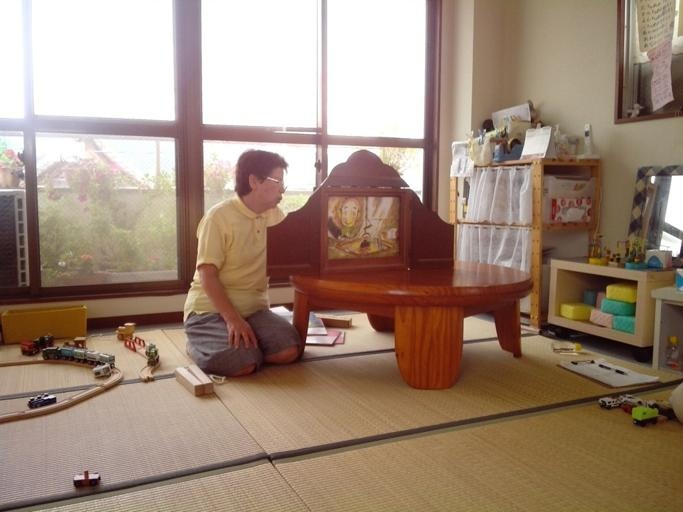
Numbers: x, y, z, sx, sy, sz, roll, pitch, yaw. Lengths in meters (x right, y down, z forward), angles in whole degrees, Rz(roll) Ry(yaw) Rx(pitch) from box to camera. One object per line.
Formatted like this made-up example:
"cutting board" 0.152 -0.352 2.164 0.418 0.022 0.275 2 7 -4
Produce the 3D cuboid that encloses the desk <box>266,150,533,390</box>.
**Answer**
"desk" 0.203 0.052 2.599 1.172 1.010 1.173 -3 5 -32

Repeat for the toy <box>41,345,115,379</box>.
"toy" -1.354 0.503 2.511 0.300 0.079 0.068 12 -2 -10

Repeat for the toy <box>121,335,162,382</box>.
"toy" -1.023 0.510 2.549 0.131 0.084 0.448 -1 8 -19

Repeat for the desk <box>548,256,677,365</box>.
"desk" 1.780 0.310 3.283 0.421 0.505 0.753 0 3 -26

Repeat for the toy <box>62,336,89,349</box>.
"toy" -1.496 0.483 2.779 0.085 0.039 0.046 5 6 -13

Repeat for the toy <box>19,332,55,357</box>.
"toy" -1.667 0.474 2.711 0.093 0.074 0.148 10 15 42

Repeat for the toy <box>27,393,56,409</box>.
"toy" -1.219 0.578 1.998 0.049 0.026 0.068 0 1 34
